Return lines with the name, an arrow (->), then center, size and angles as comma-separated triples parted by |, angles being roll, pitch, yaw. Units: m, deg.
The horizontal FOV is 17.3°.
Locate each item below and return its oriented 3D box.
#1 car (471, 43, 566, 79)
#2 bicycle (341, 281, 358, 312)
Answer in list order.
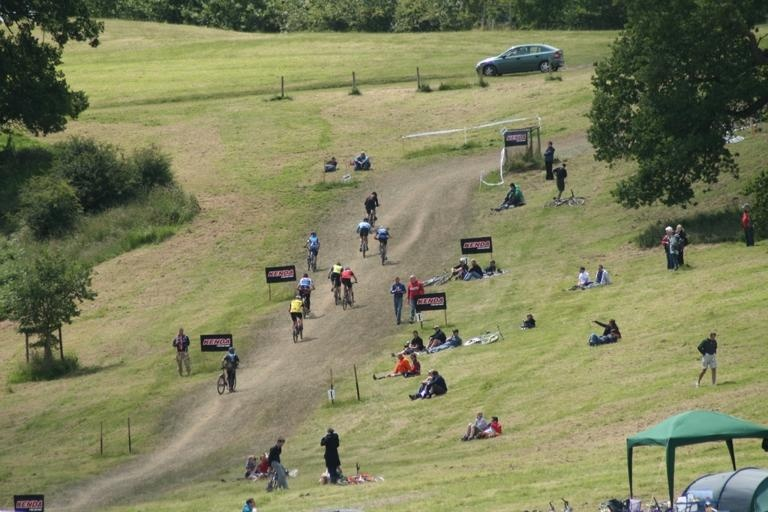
car -> 13.658, -20.522, 251.492 | 7.595, 2.595, 3.501 | 1, 7, 9
bicycle -> -2.561, 2.818, 212.879 | 1.080, 2.364, 1.471 | -4, 11, 0
